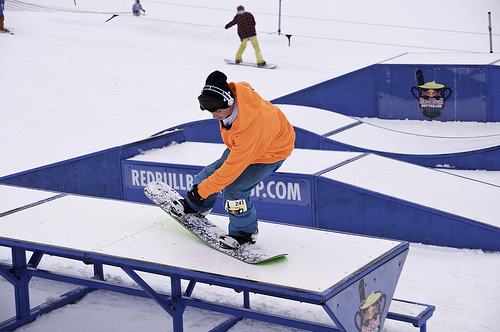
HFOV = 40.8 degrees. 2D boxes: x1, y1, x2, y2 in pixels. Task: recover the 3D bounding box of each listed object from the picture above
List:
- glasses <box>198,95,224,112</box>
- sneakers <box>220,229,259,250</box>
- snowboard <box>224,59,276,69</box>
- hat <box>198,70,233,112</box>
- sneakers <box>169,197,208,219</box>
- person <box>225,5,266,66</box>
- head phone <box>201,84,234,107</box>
[{"bbox_3d":[-0.512,-0.801,8.545,0.228,0.120,0.264,9,12,21],"label":"glasses"},{"bbox_3d":[-0.152,0.959,8.777,0.394,0.143,0.238,-1,5,-15],"label":"sneakers"},{"bbox_3d":[-0.034,-2.959,19.463,1.131,0.133,0.285,9,32,13],"label":"snowboard"},{"bbox_3d":[-0.332,-0.979,8.701,0.493,0.461,0.533,-4,14,24],"label":"hat"},{"bbox_3d":[-0.786,0.572,8.969,0.565,0.190,0.258,5,-23,-30],"label":"sneakers"},{"bbox_3d":[-0.116,-3.600,18.707,0.922,1.697,0.930,1,13,5],"label":"person"},{"bbox_3d":[-0.420,-0.879,8.588,0.351,0.113,0.249,25,-16,-7],"label":"head phone"}]
